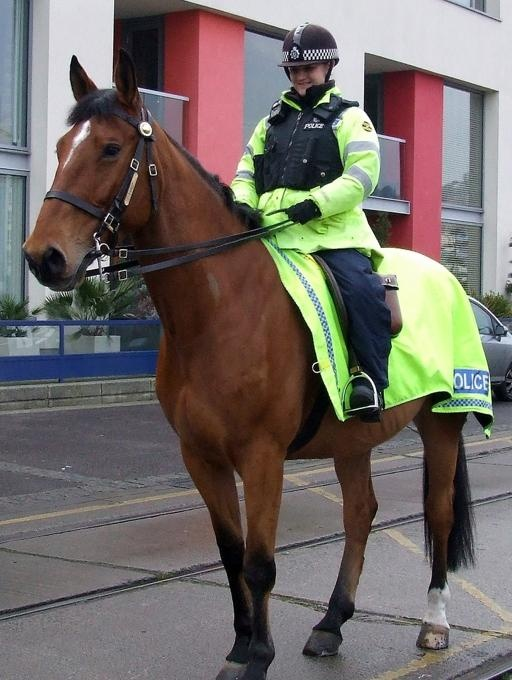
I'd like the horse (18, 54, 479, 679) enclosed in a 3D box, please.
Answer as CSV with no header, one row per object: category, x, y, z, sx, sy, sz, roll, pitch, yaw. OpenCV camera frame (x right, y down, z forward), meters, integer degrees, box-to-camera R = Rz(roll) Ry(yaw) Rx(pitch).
horse,0.031,0.166,3.330,2.145,1.780,0.659,0,1,-42

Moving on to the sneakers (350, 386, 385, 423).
sneakers,0.483,0.247,3.363,0.129,0.146,0.165,-1,6,18

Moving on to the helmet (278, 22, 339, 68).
helmet,0.227,-1.232,3.589,0.186,0.126,0.241,0,5,30
